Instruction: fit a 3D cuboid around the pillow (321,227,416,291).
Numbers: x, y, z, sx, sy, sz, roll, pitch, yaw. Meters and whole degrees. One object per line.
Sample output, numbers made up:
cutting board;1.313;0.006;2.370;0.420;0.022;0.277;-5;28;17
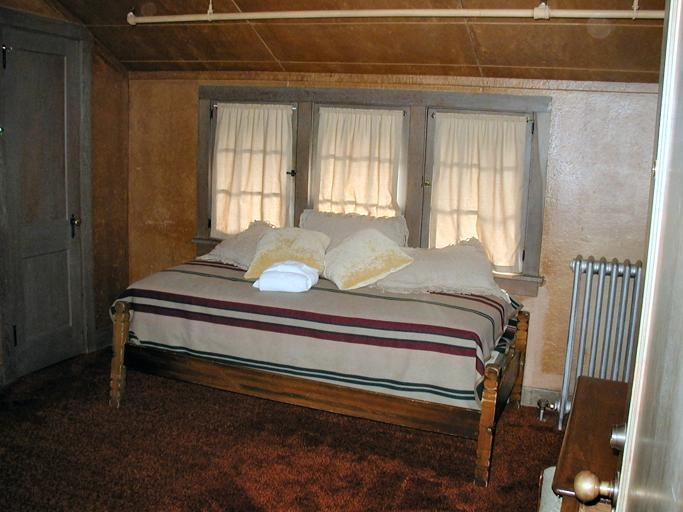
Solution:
pillow;0.239;-0.030;3.936;0.653;0.694;0.203;-7;41;8

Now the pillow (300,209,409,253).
pillow;0.154;-0.177;4.399;0.798;0.242;0.434;2;37;16

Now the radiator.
radiator;1.514;0.466;3.346;0.668;0.938;0.927;5;-21;17
